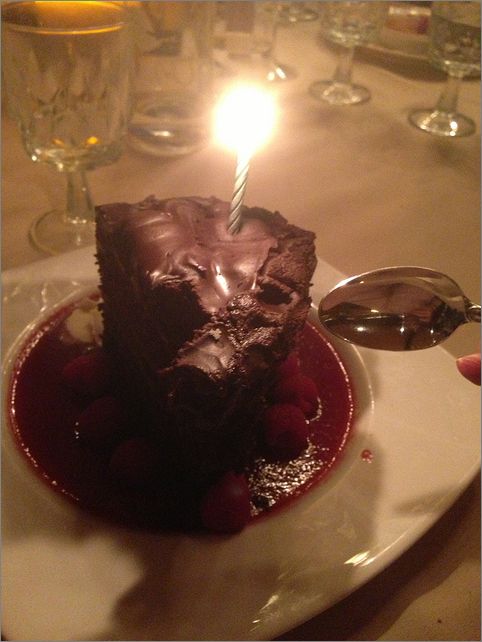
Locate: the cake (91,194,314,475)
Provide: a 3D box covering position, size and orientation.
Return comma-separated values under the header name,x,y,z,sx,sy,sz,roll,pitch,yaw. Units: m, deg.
name,x,y,z,sx,sy,sz,roll,pitch,yaw
cake,-0.067,-0.031,1.001,0.264,0.281,0.299,-21,58,-32
